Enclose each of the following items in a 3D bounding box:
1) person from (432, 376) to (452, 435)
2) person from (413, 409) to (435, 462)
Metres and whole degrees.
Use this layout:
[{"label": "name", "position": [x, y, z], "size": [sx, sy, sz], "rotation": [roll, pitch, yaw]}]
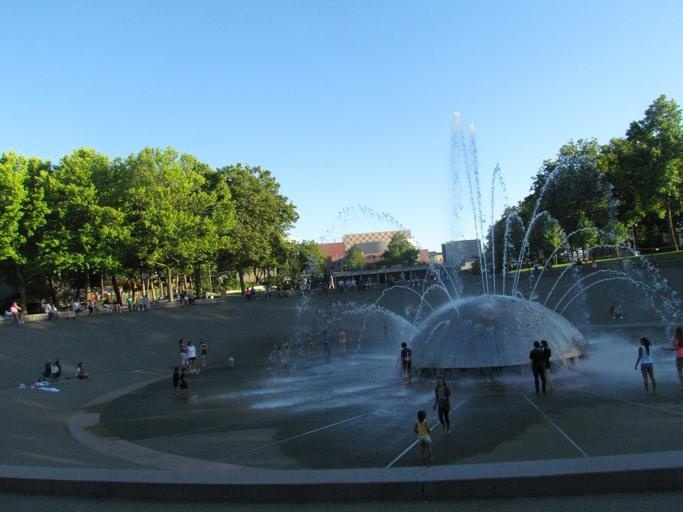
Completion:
[{"label": "person", "position": [2.884, 4.153, 14.298], "size": [0.449, 1.498, 1.368], "rotation": [-2, -7, 11]}, {"label": "person", "position": [2.156, 4.521, 13.003], "size": [0.399, 1.263, 1.510], "rotation": [-2, -8, 9]}]
